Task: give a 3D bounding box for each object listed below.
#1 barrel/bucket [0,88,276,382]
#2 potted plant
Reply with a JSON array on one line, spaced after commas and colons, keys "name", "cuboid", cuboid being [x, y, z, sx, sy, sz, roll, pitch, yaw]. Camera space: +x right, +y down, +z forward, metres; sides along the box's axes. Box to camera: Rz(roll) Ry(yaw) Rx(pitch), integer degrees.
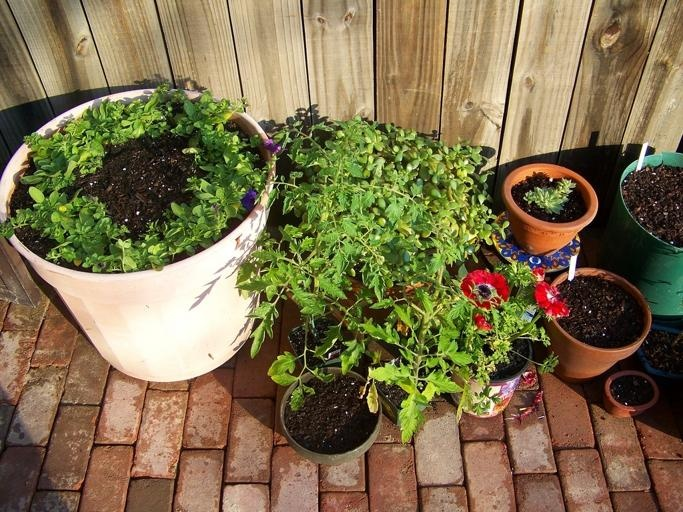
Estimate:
[{"name": "barrel/bucket", "cuboid": [-0.874, -0.070, 2.438, 1.210, 1.025, 1.348, 4, 54, -2]}, {"name": "potted plant", "cuboid": [-0.182, 0.162, 2.234, 2.407, 0.972, 1.459, 8, 56, -6]}]
